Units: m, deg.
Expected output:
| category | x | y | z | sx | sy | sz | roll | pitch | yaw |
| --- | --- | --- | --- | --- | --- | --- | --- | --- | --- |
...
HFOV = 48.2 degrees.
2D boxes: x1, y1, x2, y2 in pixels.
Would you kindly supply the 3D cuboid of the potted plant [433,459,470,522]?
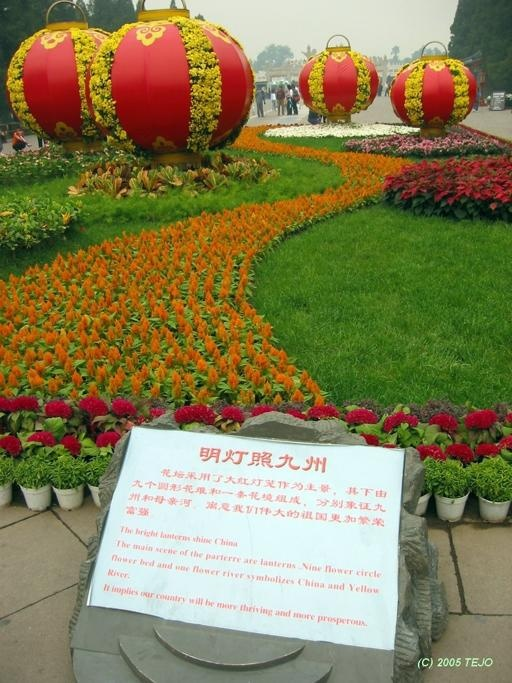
| category | x | y | z | sx | sy | sz | roll | pitch | yaw |
| --- | --- | --- | --- | --- | --- | --- | --- | --- | --- |
| potted plant | 0.912 | 0.678 | 2.668 | 0.155 | 0.236 | 0.223 | 11 | 31 | 21 |
